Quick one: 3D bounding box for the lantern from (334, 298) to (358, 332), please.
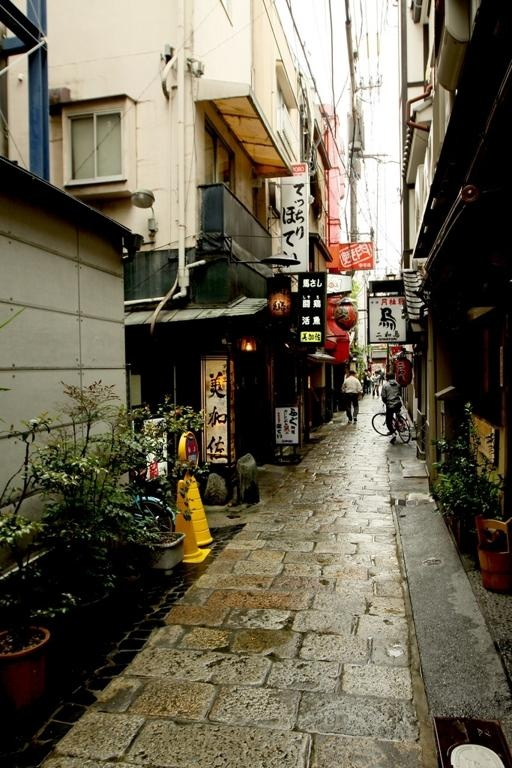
[{"bbox_3d":[3.752,-2.776,24.530,0.934,1.561,1.405,0,-6,-8],"label":"lantern"}]

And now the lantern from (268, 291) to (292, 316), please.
[{"bbox_3d":[0.481,-1.554,12.253,0.389,0.518,0.438,-2,0,23],"label":"lantern"}]

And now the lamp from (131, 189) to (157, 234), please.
[{"bbox_3d":[-2.030,-3.190,11.160,0.435,0.828,1.071,-2,1,-10],"label":"lamp"}]

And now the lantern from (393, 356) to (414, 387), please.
[{"bbox_3d":[4.590,-0.412,19.056,0.546,0.867,0.823,-1,1,11],"label":"lantern"}]

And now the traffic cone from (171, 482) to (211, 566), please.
[{"bbox_3d":[-0.968,1.785,8.000,0.684,1.173,0.769,-2,0,0],"label":"traffic cone"}]
